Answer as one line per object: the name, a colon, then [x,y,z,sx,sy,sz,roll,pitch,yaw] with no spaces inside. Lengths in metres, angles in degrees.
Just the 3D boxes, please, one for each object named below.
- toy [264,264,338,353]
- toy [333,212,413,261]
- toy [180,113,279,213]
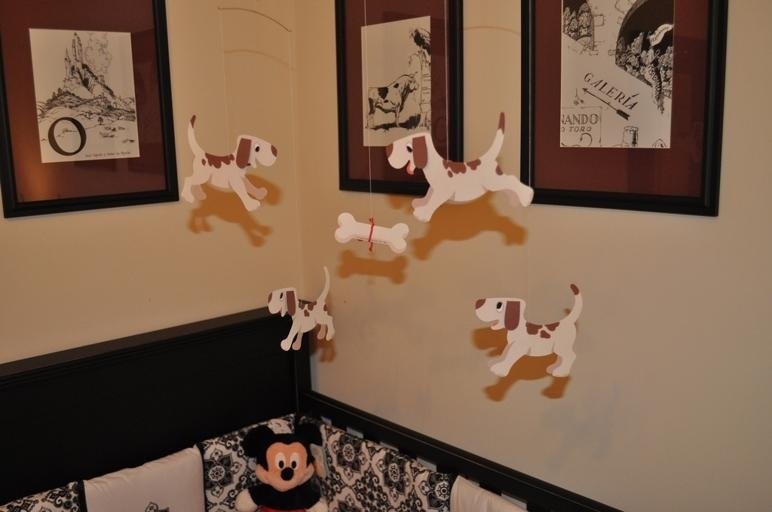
toy: [-0.374,0.290,2.833,0.250,0.520,0.596,-2,12,-5]
toy: [-0.041,-0.096,2.288,0.267,0.120,0.138,4,13,22]
toy: [-0.622,-0.395,2.601,0.365,0.355,0.599,-2,13,-4]
